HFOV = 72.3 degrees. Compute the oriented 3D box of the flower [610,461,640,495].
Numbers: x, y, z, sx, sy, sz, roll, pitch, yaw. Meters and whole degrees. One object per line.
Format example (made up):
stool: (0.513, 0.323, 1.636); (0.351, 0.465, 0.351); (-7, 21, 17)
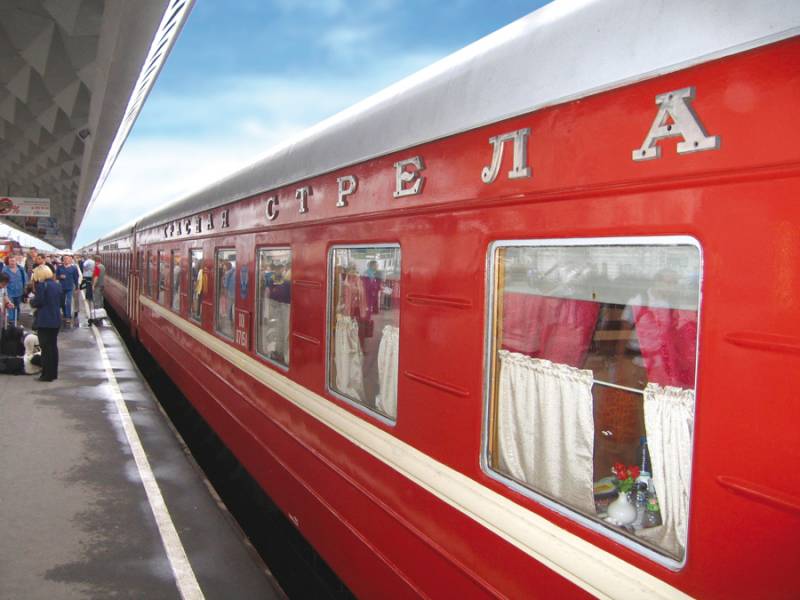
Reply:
flower: (0.887, 0.702, 2.162); (0.098, 0.114, 0.083); (2, -1, 35)
